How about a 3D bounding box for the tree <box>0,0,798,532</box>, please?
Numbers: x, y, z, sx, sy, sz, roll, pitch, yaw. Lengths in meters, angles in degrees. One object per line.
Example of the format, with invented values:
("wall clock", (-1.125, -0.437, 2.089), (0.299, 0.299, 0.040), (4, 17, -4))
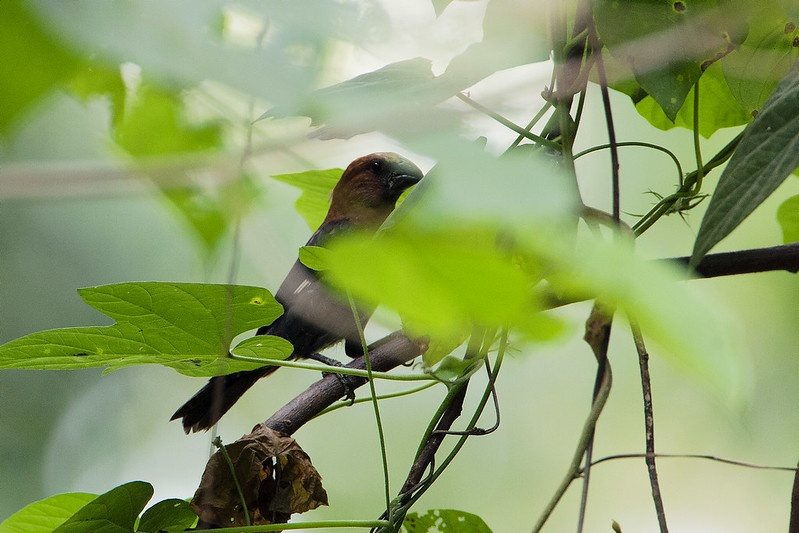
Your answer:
("tree", (-0.034, -0.005, 0.883), (0.657, 0.621, 0.227), (1, -88, 20))
